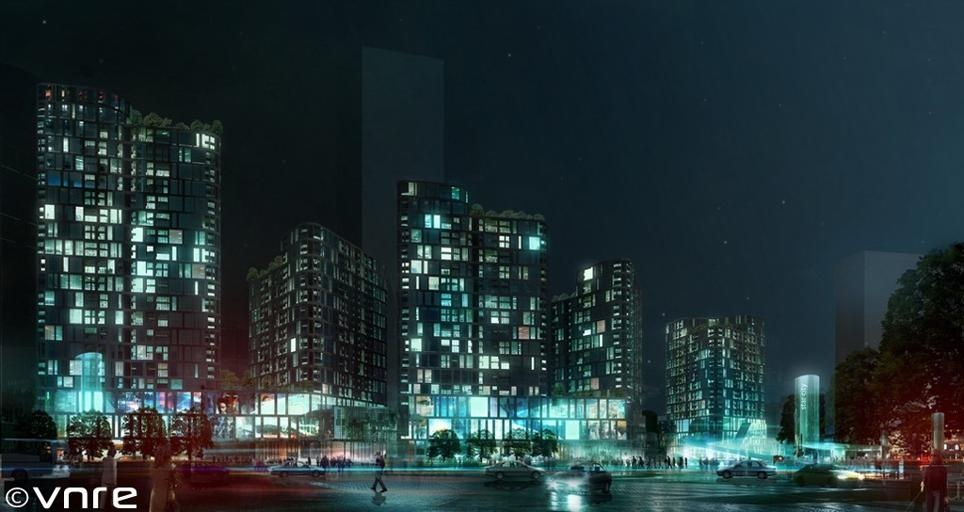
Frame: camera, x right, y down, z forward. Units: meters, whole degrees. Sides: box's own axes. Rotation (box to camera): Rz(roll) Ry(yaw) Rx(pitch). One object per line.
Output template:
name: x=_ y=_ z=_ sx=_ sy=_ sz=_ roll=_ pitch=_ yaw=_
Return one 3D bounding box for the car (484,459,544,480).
car: x=3.035 y=21.709 z=98.070 sx=5.430 sy=1.585 sz=2.345 roll=-2 pitch=-12 yaw=4
